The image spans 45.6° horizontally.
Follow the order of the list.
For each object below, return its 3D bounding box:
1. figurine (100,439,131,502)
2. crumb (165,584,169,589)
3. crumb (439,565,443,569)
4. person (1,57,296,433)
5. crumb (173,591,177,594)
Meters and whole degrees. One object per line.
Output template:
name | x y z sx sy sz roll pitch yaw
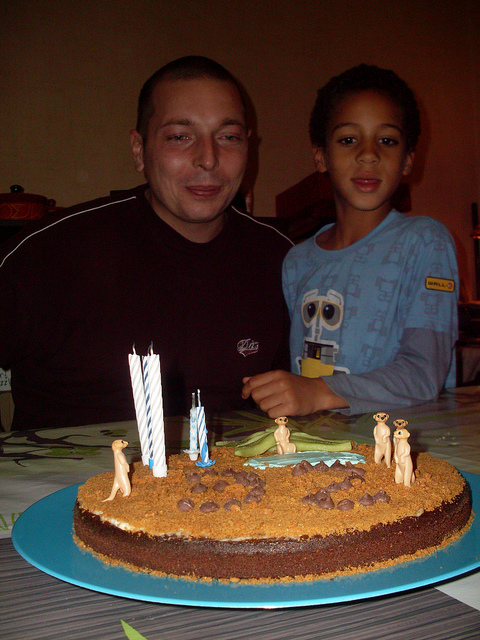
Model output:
figurine | -0.197 0.242 0.914 0.046 0.093 0.030 -4 -9 -19
crumb | -0.087 0.316 0.673 0.006 0.001 0.006 2 -3 0
crumb | 0.246 0.302 0.693 0.003 0.001 0.003 -2 11 5
person | -0.406 -0.277 2.367 1.240 1.428 0.617 -1 2 4
crumb | -0.075 0.313 0.652 0.004 0.001 0.003 -2 7 -1
